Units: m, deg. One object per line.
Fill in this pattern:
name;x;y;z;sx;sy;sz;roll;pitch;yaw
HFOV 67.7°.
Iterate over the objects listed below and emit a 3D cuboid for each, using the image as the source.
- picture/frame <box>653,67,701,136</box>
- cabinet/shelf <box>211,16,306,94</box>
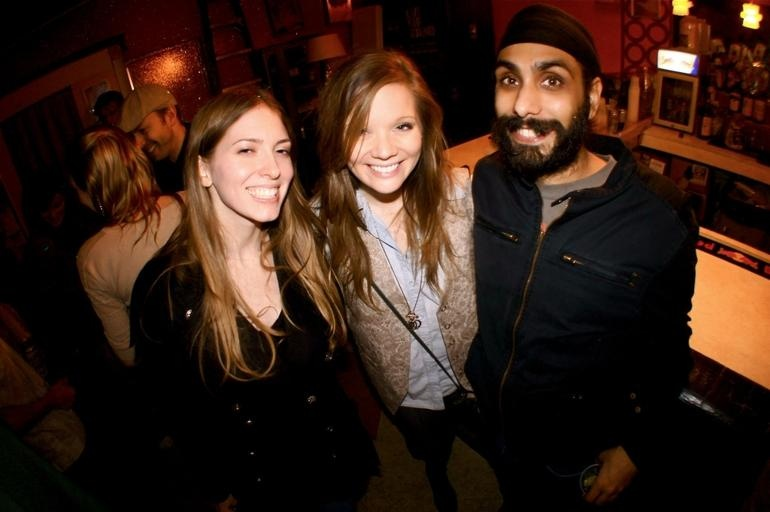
picture/frame;2.657;-1.422;5.175;0.350;0.511;0.414;-26;37;-25
cabinet/shelf;-1.974;-2.804;7.878;0.883;0.801;0.497;3;28;40
